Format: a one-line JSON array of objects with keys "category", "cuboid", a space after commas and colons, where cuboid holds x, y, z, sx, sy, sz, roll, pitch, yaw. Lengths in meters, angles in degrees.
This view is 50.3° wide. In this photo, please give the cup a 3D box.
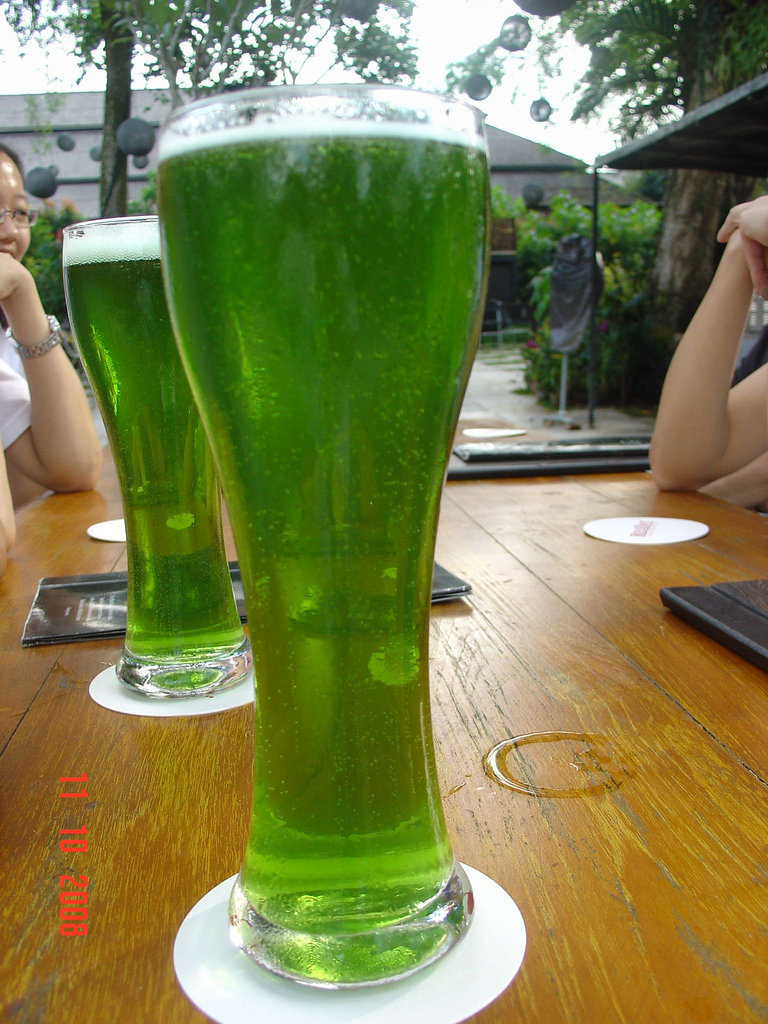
[{"category": "cup", "cuboid": [-0.011, 0.010, 0.292, 0.118, 0.301, 0.066, -4, 7, -11]}]
